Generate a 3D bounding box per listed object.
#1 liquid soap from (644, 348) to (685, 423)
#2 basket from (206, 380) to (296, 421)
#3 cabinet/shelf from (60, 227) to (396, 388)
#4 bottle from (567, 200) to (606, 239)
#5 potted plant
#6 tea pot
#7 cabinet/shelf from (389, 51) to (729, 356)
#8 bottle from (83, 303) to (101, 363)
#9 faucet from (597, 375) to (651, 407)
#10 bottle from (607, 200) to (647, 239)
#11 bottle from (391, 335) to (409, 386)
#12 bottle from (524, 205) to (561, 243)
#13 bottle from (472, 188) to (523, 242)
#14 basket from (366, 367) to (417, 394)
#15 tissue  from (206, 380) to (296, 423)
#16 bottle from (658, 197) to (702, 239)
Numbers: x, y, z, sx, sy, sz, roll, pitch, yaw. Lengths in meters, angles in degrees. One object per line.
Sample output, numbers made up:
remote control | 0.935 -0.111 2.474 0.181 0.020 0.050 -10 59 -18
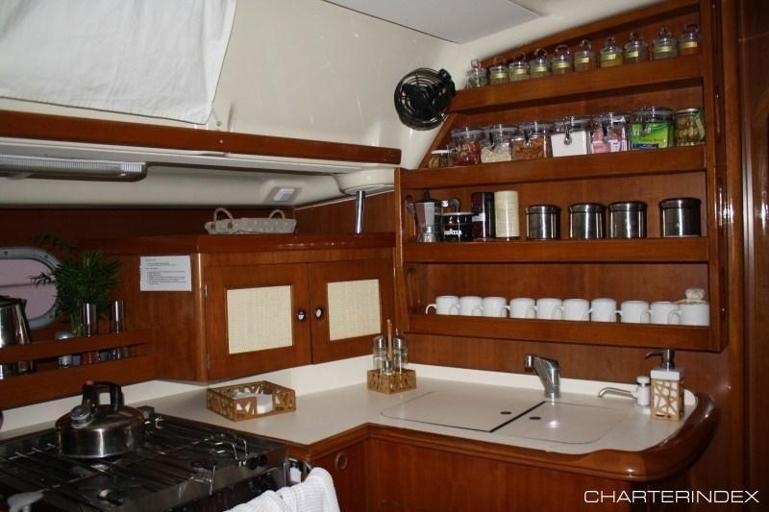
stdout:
liquid soap | 1.217 0.547 2.374 0.148 0.276 0.164 1 6 26
basket | -0.610 0.686 2.577 0.216 0.071 0.222 0 -1 43
cabinet/shelf | -0.677 0.289 3.095 0.960 0.653 1.322 -8 -5 39
bottle | 0.939 -0.164 2.560 0.166 0.176 0.168 1 3 22
potted plant | -1.374 0.123 2.672 0.416 0.513 0.463 -4 -1 2
tea pot | -1.148 0.641 2.209 0.290 0.234 0.296 8 3 0
cabinet/shelf | 0.903 -0.239 2.620 1.654 1.296 0.547 0 24 4
bottle | -1.313 0.334 2.501 0.067 0.275 0.068 -7 -9 -1
faucet | 1.096 0.625 2.491 0.255 0.147 0.097 -3 -9 36
bottle | 1.106 -0.165 2.478 0.169 0.178 0.160 -2 3 -3
bottle | 0.081 0.566 2.939 0.079 0.257 0.064 -1 -9 5
bottle | 0.749 -0.163 2.636 0.189 0.172 0.186 0 -1 -4
bottle | 0.549 -0.205 2.695 0.292 0.279 0.166 2 2 38
basket | 0.025 0.630 2.869 0.150 0.081 0.146 -2 3 -44
tissue  | -0.614 0.684 2.578 0.217 0.070 0.220 0 -1 43
bottle | 1.284 -0.162 2.378 0.161 0.171 0.161 3 -2 -38
